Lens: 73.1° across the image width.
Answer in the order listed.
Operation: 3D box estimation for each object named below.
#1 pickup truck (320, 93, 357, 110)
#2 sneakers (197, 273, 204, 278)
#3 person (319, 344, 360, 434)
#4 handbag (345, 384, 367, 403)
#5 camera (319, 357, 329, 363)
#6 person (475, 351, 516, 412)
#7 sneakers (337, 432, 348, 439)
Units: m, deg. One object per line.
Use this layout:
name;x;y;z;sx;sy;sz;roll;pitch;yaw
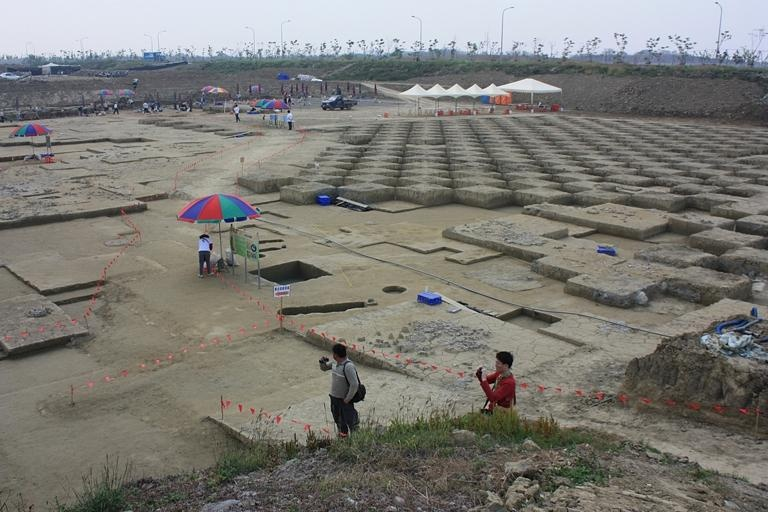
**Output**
pickup truck;-4.264;-14.295;48.352;3.593;1.123;1.917;-11;32;-25
sneakers;-4.573;0.495;12.868;0.095;0.067;0.211;-10;19;-37
person;-0.576;1.838;7.078;0.470;1.310;0.670;-6;24;-12
handbag;-0.349;1.892;7.116;0.113;0.318;0.258;19;29;37
camera;-0.837;1.443;7.143;0.147;0.027;0.127;-1;12;-2
person;1.584;1.838;7.350;0.534;1.041;0.643;4;23;10
sneakers;-0.561;2.421;6.997;0.145;0.044;0.132;1;6;8
